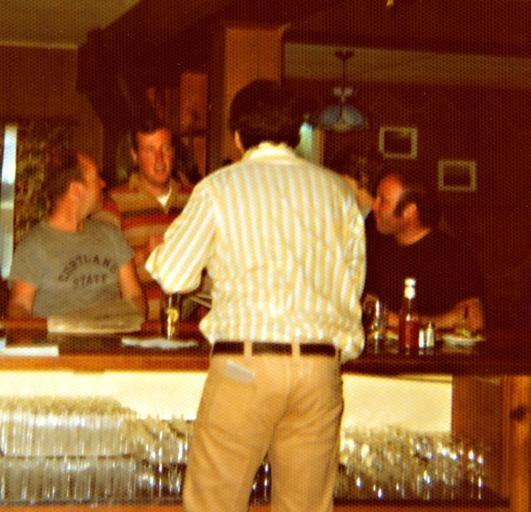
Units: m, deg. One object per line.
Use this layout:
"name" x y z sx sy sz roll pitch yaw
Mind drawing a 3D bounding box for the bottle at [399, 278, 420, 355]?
"bottle" 0.444 0.182 2.173 0.065 0.228 0.156 5 -6 11

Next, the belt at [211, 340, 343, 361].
"belt" 0.019 0.213 1.602 0.282 0.044 0.064 5 -5 -3
